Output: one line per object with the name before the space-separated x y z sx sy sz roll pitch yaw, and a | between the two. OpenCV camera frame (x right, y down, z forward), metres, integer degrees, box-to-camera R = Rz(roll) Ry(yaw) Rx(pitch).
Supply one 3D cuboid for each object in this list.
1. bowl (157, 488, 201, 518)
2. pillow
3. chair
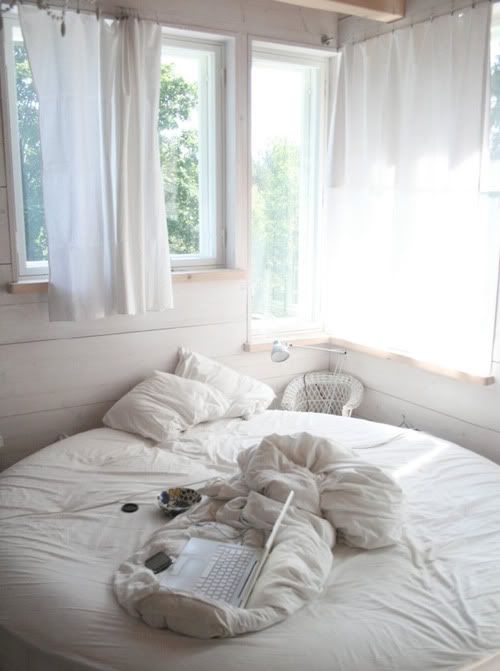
bowl | -0.245 0.580 1.850 0.092 0.035 0.094 0 12 0
pillow | -0.307 0.324 2.704 0.488 0.186 0.559 22 25 20
chair | 0.452 0.350 3.284 0.375 0.406 0.301 0 6 8
